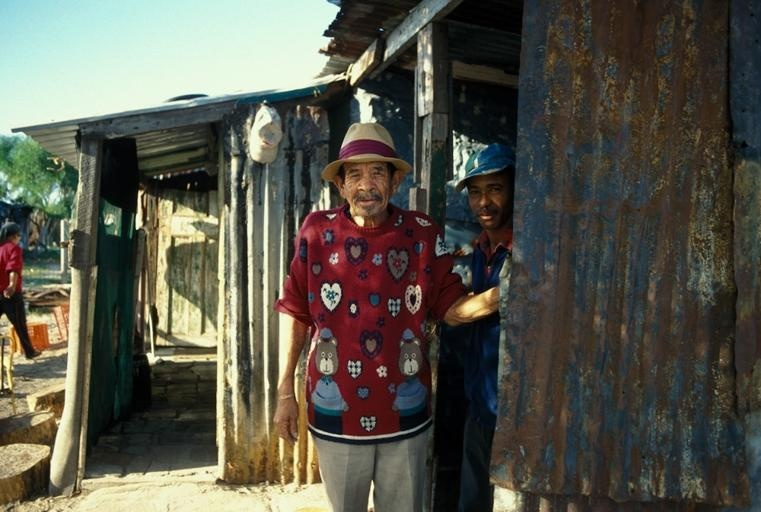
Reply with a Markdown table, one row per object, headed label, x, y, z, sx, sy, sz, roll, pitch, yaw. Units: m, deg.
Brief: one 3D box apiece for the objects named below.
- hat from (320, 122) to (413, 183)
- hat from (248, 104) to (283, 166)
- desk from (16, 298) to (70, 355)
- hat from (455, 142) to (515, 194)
| label | x | y | z | sx | sy | sz | roll | pitch | yaw |
| --- | --- | --- | --- | --- | --- | --- | --- | --- | --- |
| hat | -0.074 | -0.794 | 6.791 | 0.479 | 0.289 | 0.544 | -1 | -26 | -1 |
| hat | -1.088 | -1.139 | 8.154 | 0.279 | 0.560 | 0.258 | 3 | 14 | 7 |
| desk | -5.863 | 1.237 | 15.027 | 0.909 | 0.780 | 0.525 | -2 | -3 | 1 |
| hat | 0.779 | -0.664 | 6.434 | 0.353 | 0.201 | 0.284 | -15 | -14 | -35 |
